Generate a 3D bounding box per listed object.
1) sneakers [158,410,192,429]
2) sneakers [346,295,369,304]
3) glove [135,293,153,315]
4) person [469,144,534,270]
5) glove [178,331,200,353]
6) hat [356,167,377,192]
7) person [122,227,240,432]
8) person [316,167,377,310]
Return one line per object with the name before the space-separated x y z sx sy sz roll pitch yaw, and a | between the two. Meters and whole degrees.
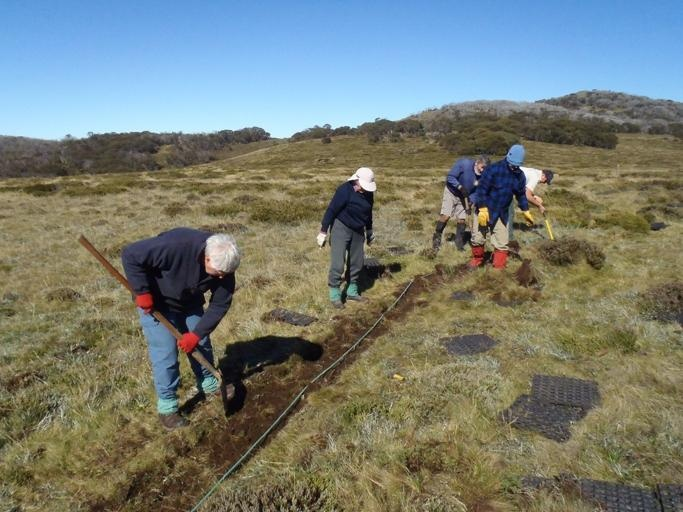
sneakers | -2.006 1.932 4.980 0.411 0.185 0.147 -3 2 7
sneakers | 0.272 0.787 7.548 0.341 0.151 0.150 -3 0 9
glove | -2.064 0.512 4.444 0.194 0.194 0.179 4 -20 -8
person | 3.096 -0.910 8.251 1.093 2.404 1.491 3 16 23
glove | -1.686 0.953 4.644 0.242 0.083 0.186 0 -25 -39
hat | 0.370 -1.215 6.811 0.295 0.208 0.389 -3 42 -31
person | -1.692 0.829 4.760 1.141 2.301 0.507 -3 14 0
person | 0.108 -0.286 7.205 0.933 2.342 0.614 -2 14 4
